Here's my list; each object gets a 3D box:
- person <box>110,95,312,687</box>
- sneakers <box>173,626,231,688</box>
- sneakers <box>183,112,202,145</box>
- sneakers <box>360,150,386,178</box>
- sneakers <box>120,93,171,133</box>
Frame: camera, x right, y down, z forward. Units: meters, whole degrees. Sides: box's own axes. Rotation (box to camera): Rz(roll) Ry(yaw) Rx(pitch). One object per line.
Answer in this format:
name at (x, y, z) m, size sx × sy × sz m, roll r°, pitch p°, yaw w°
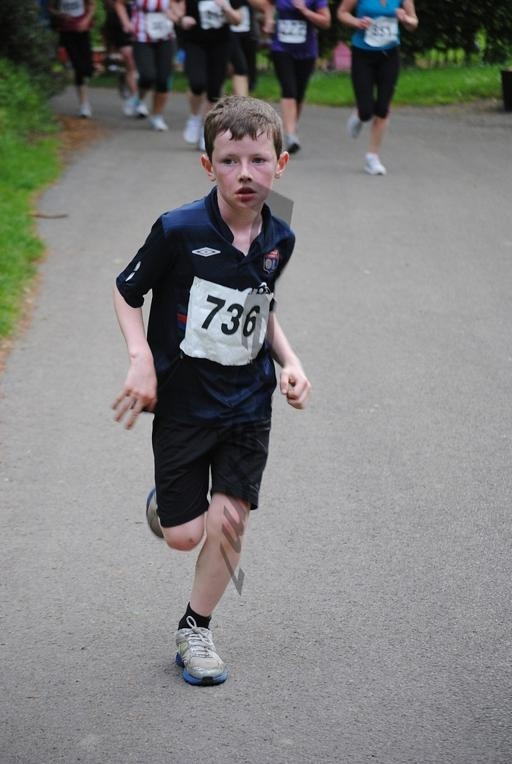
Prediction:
person at (-0.098, 0.090, 1.615) m, size 0.429 × 1.373 × 0.537 m, roll -4°, pitch 27°, yaw -8°
sneakers at (-0.136, 0.658, 1.641) m, size 0.075 × 0.073 × 0.161 m, roll 0°, pitch 5°, yaw -18°
sneakers at (-0.545, -2.178, 5.923) m, size 0.137 × 0.165 × 0.392 m, roll 1°, pitch 50°, yaw -4°
sneakers at (0.805, -1.473, 4.684) m, size 0.078 × 0.091 × 0.201 m, roll -14°, pitch 30°, yaw -21°
sneakers at (-0.831, -1.941, 4.946) m, size 0.099 × 0.127 × 0.292 m, roll -36°, pitch 47°, yaw -29°
